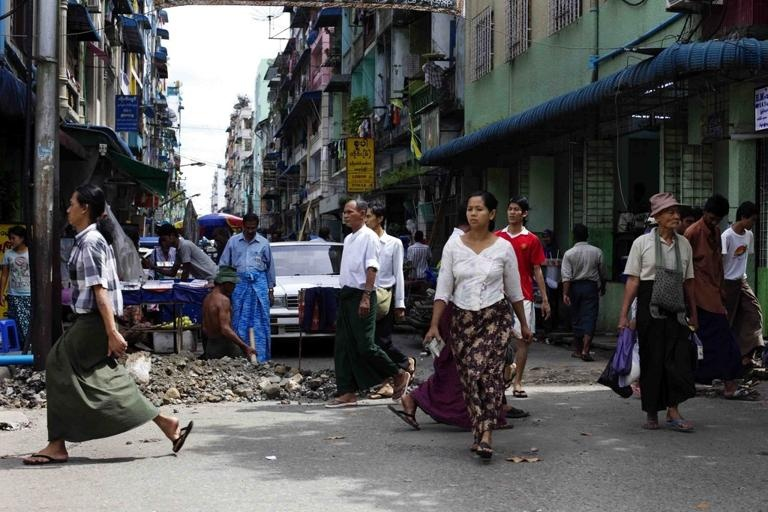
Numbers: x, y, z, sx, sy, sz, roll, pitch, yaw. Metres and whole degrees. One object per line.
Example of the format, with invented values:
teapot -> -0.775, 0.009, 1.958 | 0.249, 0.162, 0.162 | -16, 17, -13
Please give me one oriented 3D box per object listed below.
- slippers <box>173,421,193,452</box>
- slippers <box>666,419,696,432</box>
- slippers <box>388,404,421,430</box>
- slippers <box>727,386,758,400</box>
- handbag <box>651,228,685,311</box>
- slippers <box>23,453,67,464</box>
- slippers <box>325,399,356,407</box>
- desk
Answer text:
slippers -> -2.099, 1.874, 10.092 | 0.103, 0.324, 0.127 | 27, 3, -7
slippers -> 3.294, 1.885, 10.852 | 0.111, 0.097, 0.239 | 1, -4, -35
slippers -> 0.255, 1.816, 10.961 | 0.457, 0.107, 0.176 | 43, -2, -29
slippers -> 4.581, 1.754, 12.383 | 0.268, 0.098, 0.190 | -1, -1, -1
handbag -> 3.217, 0.194, 10.948 | 0.316, 0.852, 0.316 | -1, -1, -19
slippers -> -3.393, 2.023, 9.674 | 0.310, 0.081, 0.152 | 7, -11, -11
slippers -> -0.550, 1.863, 12.188 | 0.363, 0.110, 0.134 | 3, -11, -10
desk -> -3.522, 0.799, 15.486 | 1.065, 0.727, 1.447 | 1, -3, -1
